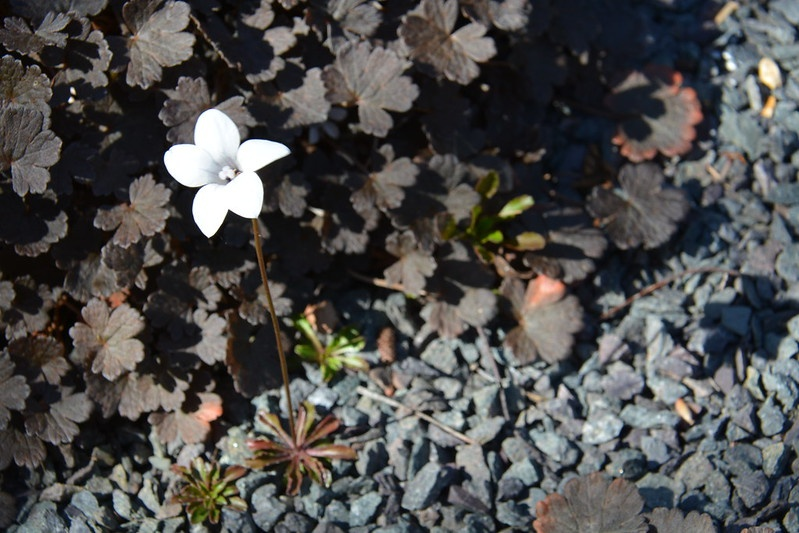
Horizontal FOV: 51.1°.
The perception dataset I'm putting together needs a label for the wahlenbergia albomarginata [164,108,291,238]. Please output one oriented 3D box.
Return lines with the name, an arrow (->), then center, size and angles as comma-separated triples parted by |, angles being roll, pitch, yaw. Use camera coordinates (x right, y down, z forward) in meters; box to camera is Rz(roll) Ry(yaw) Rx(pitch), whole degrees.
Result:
wahlenbergia albomarginata -> -0.791, -0.437, 3.773 | 0.539, 0.406, 0.405 | 11, 43, 35
